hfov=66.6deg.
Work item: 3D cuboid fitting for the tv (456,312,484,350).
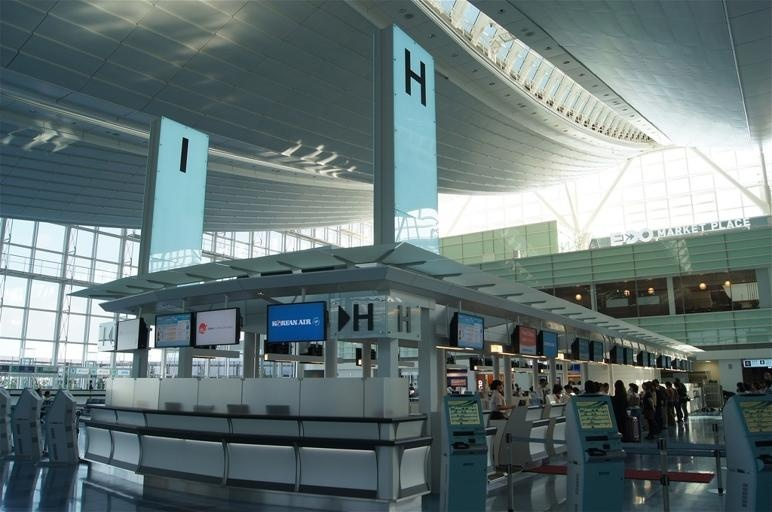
[{"bbox_3d":[2.182,1.922,15.172,0.275,0.979,1.207,-7,-1,29],"label":"tv"}]

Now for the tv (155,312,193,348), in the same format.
[{"bbox_3d":[-5.281,1.833,14.597,1.359,0.867,0.267,-5,2,34],"label":"tv"}]

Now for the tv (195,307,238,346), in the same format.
[{"bbox_3d":[-4.030,1.698,14.084,1.364,0.925,0.397,-5,1,32],"label":"tv"}]

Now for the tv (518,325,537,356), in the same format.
[{"bbox_3d":[4.385,2.613,18.147,0.169,0.703,1.211,-13,-17,35],"label":"tv"}]

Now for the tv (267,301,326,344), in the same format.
[{"bbox_3d":[-1.993,1.445,12.951,1.495,0.888,0.275,-5,1,18],"label":"tv"}]

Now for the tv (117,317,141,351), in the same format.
[{"bbox_3d":[-6.826,2.088,15.601,1.124,0.798,0.362,-7,-7,40],"label":"tv"}]
